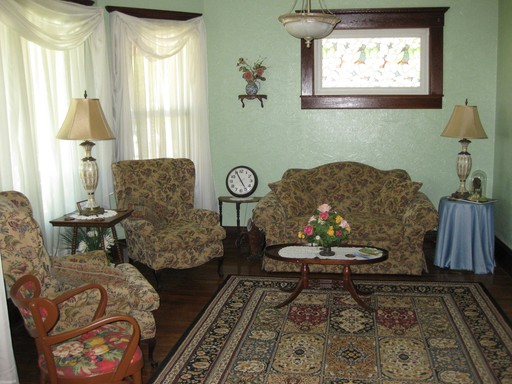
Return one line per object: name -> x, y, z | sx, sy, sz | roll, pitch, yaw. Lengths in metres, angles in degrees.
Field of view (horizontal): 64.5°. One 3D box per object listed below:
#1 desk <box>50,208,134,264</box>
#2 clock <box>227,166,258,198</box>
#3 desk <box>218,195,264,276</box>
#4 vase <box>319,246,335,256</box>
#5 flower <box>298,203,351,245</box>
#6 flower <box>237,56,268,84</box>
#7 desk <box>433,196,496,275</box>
desk -> -1.632, 0.458, 4.278 | 0.697, 0.534, 0.608 | -1, 12, 0
clock -> -0.195, -0.127, 5.630 | 0.584, 0.448, 0.078 | -2, -6, 4
desk -> -0.270, 0.466, 5.741 | 0.974, 0.879, 0.860 | 0, -1, -2
vase -> 0.672, 0.551, 3.857 | 0.147, 0.096, 0.124 | 0, 14, 9
flower -> 0.644, 0.337, 3.840 | 0.516, 0.356, 0.413 | 4, 29, 11
flower -> -0.057, -1.700, 5.798 | 0.464, 0.362, 0.281 | -1, -4, 16
desk -> 2.679, 0.485, 5.003 | 0.893, 0.862, 0.862 | 7, 10, 41
